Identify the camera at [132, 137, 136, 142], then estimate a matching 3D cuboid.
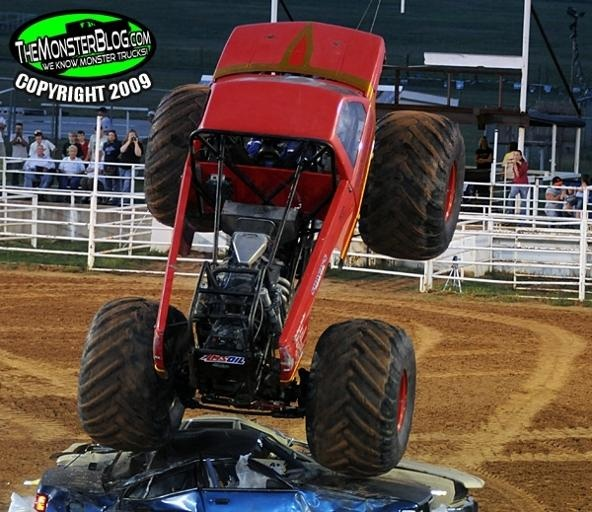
[{"bbox_3d":[-3.899,-2.825,24.290,0.166,0.116,0.046,1,2,-3],"label":"camera"}]
